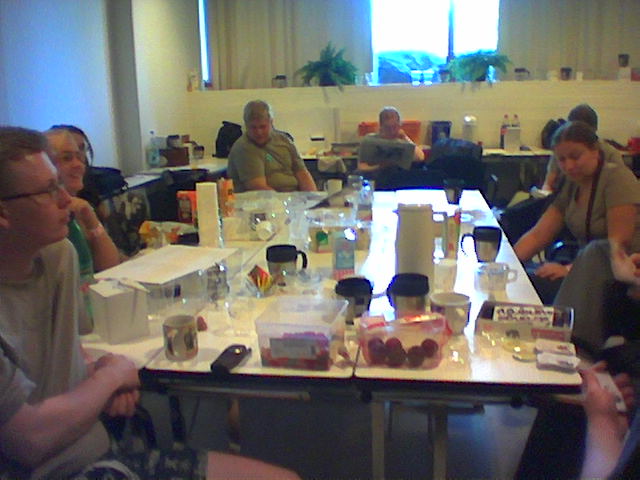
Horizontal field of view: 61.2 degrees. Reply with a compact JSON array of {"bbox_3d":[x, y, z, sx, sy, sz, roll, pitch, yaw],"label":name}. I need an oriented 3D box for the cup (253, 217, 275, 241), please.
[{"bbox_3d":[-0.222,-0.045,2.173,0.075,0.078,0.055,-2,8,-9],"label":"cup"}]

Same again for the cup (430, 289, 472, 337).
[{"bbox_3d":[0.336,0.193,1.389,0.101,0.093,0.120,-1,16,11],"label":"cup"}]

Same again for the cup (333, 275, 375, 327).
[{"bbox_3d":[0.098,0.156,1.467,0.103,0.111,0.144,3,14,14],"label":"cup"}]

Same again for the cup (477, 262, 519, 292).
[{"bbox_3d":[0.552,0.107,1.688,0.117,0.069,0.087,2,17,10],"label":"cup"}]

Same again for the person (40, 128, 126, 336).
[{"bbox_3d":[-0.822,-0.077,1.814,0.274,0.785,0.303,0,17,-4],"label":"person"}]

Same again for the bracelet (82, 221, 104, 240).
[{"bbox_3d":[-0.831,-0.036,1.995,0.058,0.065,0.075,-2,8,-6],"label":"bracelet"}]

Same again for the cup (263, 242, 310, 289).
[{"bbox_3d":[-0.114,0.082,1.730,0.123,0.131,0.128,1,19,0],"label":"cup"}]

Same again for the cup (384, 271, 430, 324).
[{"bbox_3d":[0.242,0.147,1.478,0.111,0.105,0.169,-2,16,7],"label":"cup"}]

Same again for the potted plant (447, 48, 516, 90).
[{"bbox_3d":[1.288,-1.370,4.290,0.346,0.146,0.344,-10,20,8],"label":"potted plant"}]

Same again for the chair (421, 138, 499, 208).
[{"bbox_3d":[0.947,-0.512,3.689,0.403,0.511,0.396,3,16,4],"label":"chair"}]

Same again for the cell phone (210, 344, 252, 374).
[{"bbox_3d":[-0.214,0.283,1.300,0.044,0.036,0.085,7,20,8],"label":"cell phone"}]

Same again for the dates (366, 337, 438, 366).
[{"bbox_3d":[0.195,0.264,1.264,0.168,0.066,0.030,-2,16,5],"label":"dates"}]

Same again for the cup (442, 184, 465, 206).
[{"bbox_3d":[0.715,-0.251,2.869,0.091,0.117,0.121,-1,11,7],"label":"cup"}]

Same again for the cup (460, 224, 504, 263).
[{"bbox_3d":[0.581,0.013,1.949,0.157,0.147,0.107,1,10,22],"label":"cup"}]
